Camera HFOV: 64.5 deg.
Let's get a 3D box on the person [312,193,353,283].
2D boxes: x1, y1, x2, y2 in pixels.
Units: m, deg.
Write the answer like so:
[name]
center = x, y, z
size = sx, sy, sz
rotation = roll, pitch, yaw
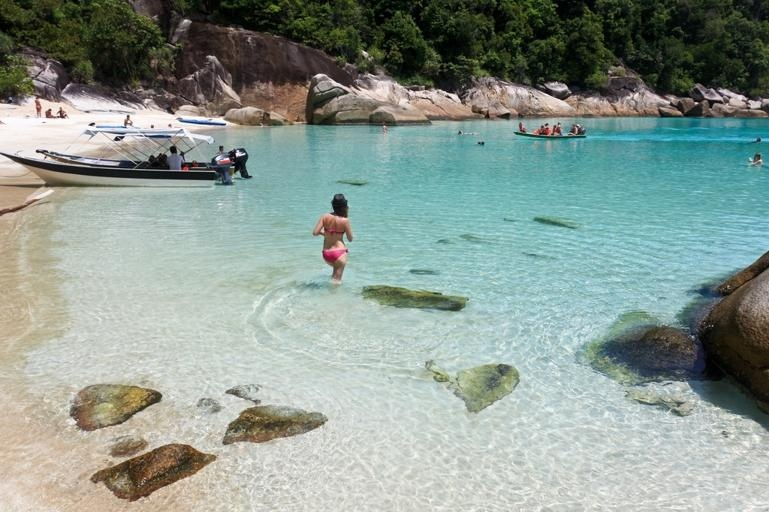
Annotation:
[person]
center = -1.104, -0.354, 12.690
size = 0.764, 1.981, 0.758
rotation = -6, 21, -12
